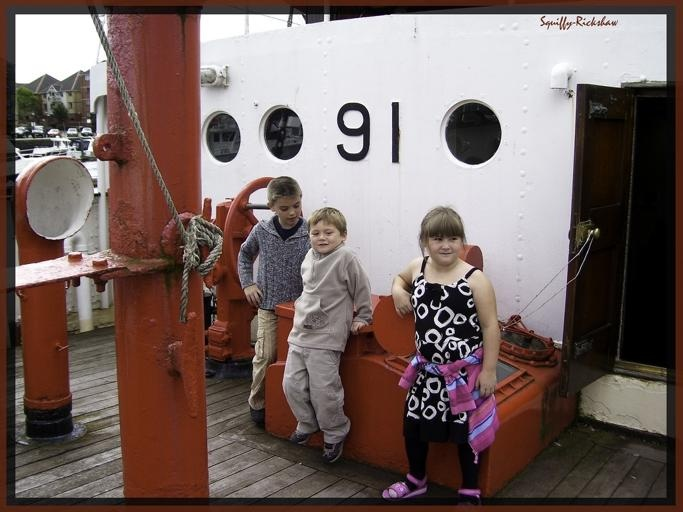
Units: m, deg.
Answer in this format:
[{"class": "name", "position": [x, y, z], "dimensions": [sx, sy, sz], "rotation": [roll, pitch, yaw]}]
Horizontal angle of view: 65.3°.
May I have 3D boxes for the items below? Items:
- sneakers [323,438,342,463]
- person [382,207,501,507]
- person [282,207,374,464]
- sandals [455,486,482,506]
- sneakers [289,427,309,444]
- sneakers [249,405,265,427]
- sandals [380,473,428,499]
[{"class": "sneakers", "position": [-0.053, 1.334, 3.652], "dimensions": [0.070, 0.095, 0.225], "rotation": [-2, 16, 15]}, {"class": "person", "position": [0.583, 0.605, 3.113], "dimensions": [0.636, 1.767, 0.332], "rotation": [3, 9, 21]}, {"class": "person", "position": [-0.102, 0.663, 3.630], "dimensions": [0.563, 1.499, 0.256], "rotation": [3, 9, 19]}, {"class": "sandals", "position": [0.745, 1.385, 3.113], "dimensions": [0.130, 0.105, 0.102], "rotation": [0, -9, 4]}, {"class": "sneakers", "position": [-0.323, 1.284, 3.781], "dimensions": [0.173, 0.088, 0.077], "rotation": [4, 8, 24]}, {"class": "sneakers", "position": [-0.660, 1.269, 4.205], "dimensions": [0.130, 0.187, 0.093], "rotation": [-9, 9, -40]}, {"class": "sandals", "position": [0.371, 1.389, 3.263], "dimensions": [0.281, 0.136, 0.127], "rotation": [1, -2, -13]}]
